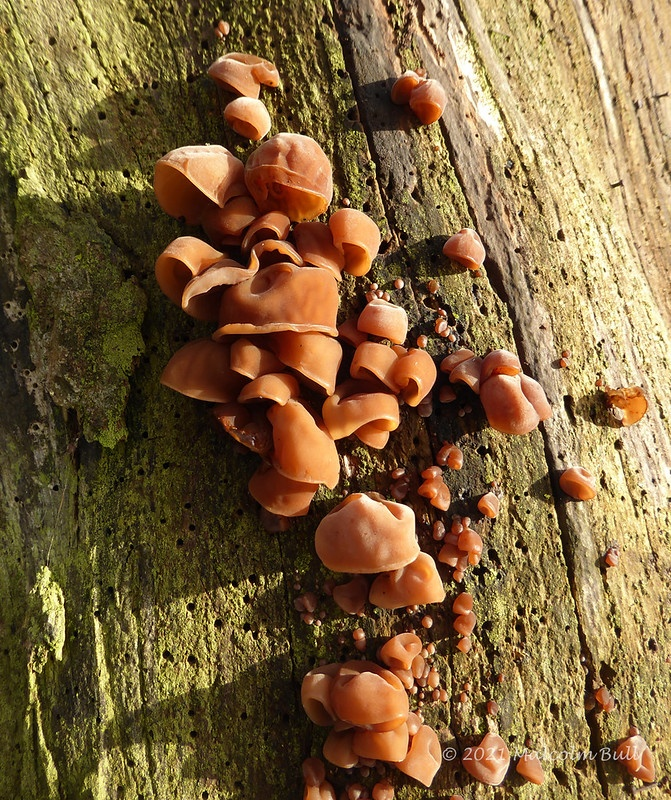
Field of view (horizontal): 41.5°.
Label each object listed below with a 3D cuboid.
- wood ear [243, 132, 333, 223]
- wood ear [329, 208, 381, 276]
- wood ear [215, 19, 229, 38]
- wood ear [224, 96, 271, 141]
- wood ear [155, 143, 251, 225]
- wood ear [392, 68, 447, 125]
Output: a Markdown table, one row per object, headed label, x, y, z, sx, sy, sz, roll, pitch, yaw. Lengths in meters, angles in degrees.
| label | x | y | z | sx | sy | sz | roll | pitch | yaw |
| --- | --- | --- | --- | --- | --- | --- | --- | --- | --- |
| wood ear | -0.189 | -0.884 | 3.738 | 0.400 | 0.290 | 0.315 | 9 | 73 | -24 |
| wood ear | 0.080 | -0.636 | 3.733 | 0.223 | 0.261 | 0.237 | 7 | 46 | -4 |
| wood ear | -0.491 | -1.614 | 3.881 | 0.065 | 0.041 | 0.062 | 0 | 78 | -4 |
| wood ear | -0.366 | -1.206 | 3.804 | 0.178 | 0.169 | 0.140 | 22 | 78 | 1 |
| wood ear | -0.543 | -0.939 | 3.754 | 0.404 | 0.360 | 0.167 | 32 | 91 | 39 |
| wood ear | 0.370 | -1.386 | 3.975 | 0.150 | 0.238 | 0.307 | -29 | 105 | 8 |
